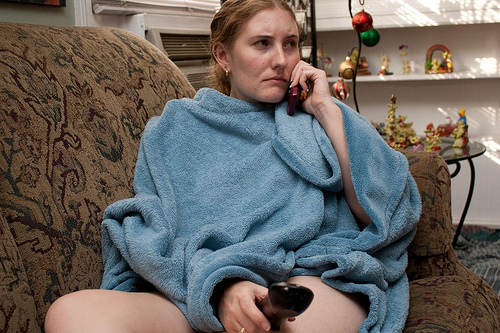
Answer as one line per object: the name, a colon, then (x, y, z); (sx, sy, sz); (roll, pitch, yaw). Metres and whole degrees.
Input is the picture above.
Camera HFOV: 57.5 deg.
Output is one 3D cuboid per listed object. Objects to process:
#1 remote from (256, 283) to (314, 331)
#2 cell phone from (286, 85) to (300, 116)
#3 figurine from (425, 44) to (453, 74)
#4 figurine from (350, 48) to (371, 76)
remote: (0.086, 0.329, 1.107); (0.085, 0.153, 0.065); (18, 46, -8)
cell phone: (0.145, -0.222, 1.549); (0.017, 0.076, 0.076); (14, 23, -5)
figurine: (1.276, -0.731, 3.109); (0.167, 0.224, 0.116); (4, -6, 16)
figurine: (0.777, -0.761, 3.269); (0.051, 0.195, 0.181); (-4, -12, 32)
